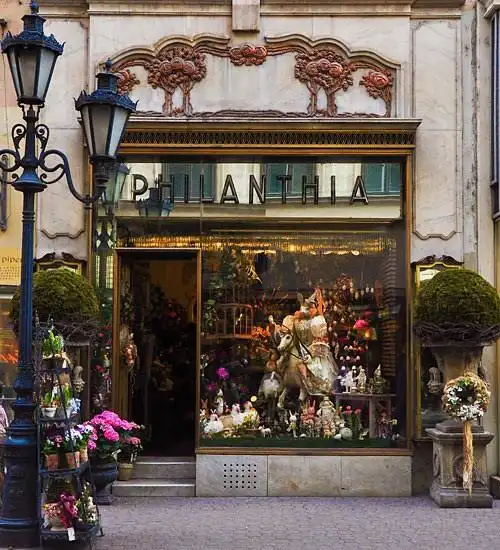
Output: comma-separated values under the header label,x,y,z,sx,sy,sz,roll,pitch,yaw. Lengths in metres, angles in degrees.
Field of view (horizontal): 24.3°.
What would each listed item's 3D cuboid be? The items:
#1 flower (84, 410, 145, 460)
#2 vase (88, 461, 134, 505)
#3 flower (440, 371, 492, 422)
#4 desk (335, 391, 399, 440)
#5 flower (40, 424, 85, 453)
label,x,y,z,sx,sy,sz,roll,pitch,yaw
flower,-1.518,1.829,12.638,0.664,0.640,0.661,4,-1,-41
vase,-1.522,2.262,12.458,0.478,0.418,0.505,0,-11,1
flower,2.431,1.423,13.085,0.469,0.578,0.189,9,-4,-2
desk,1.385,1.875,14.097,0.676,0.743,0.496,-1,-13,4
flower,-1.774,1.633,11.175,0.343,0.264,0.511,-1,-4,7
